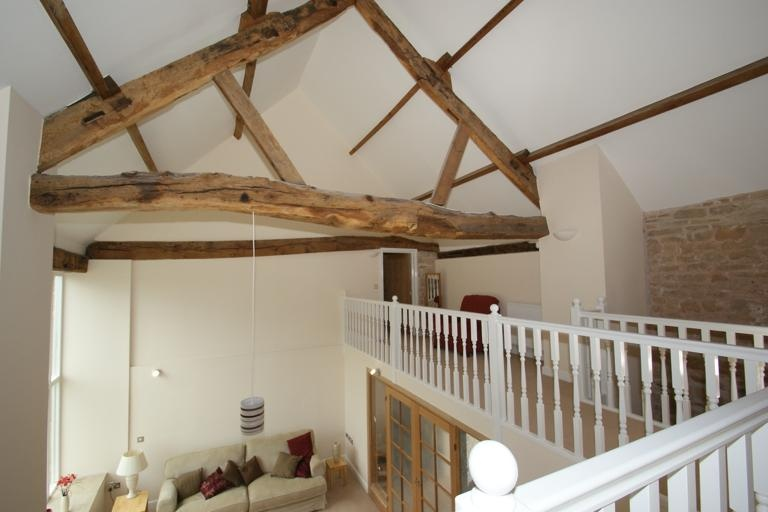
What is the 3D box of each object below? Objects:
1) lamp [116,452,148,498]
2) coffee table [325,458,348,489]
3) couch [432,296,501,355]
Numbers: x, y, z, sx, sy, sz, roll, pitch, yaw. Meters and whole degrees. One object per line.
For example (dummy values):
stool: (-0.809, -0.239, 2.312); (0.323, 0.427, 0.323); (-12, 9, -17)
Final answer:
lamp: (-4.097, 3.588, 8.244); (0.472, 0.640, 0.496); (-13, -14, 41)
coffee table: (-0.823, 4.080, 9.501); (0.439, 0.473, 0.441); (2, -14, -24)
couch: (1.541, 1.224, 9.319); (1.041, 0.940, 1.007); (-3, 1, -40)
